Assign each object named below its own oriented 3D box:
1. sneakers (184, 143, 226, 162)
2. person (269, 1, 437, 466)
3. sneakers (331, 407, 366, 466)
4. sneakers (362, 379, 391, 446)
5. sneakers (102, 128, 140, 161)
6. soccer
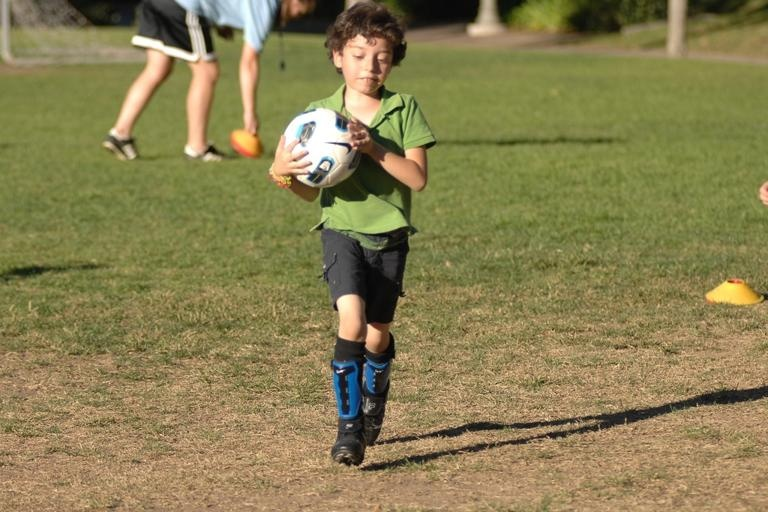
[{"bbox_3d":[-1.534,-0.886,10.773,0.317,0.116,0.146,-1,8,-7],"label":"sneakers"},{"bbox_3d":[-0.148,-0.144,6.775,0.747,2.348,0.939,3,17,13],"label":"person"},{"bbox_3d":[-0.179,0.960,6.740,0.166,0.220,0.489,-1,8,5],"label":"sneakers"},{"bbox_3d":[-0.051,0.840,6.909,0.124,0.345,0.142,5,12,7],"label":"sneakers"},{"bbox_3d":[-2.190,-0.943,10.507,0.156,0.192,0.440,23,-6,22],"label":"sneakers"},{"bbox_3d":[-0.358,-0.544,6.802,0.417,0.438,0.415,1,-15,-9],"label":"soccer"}]
